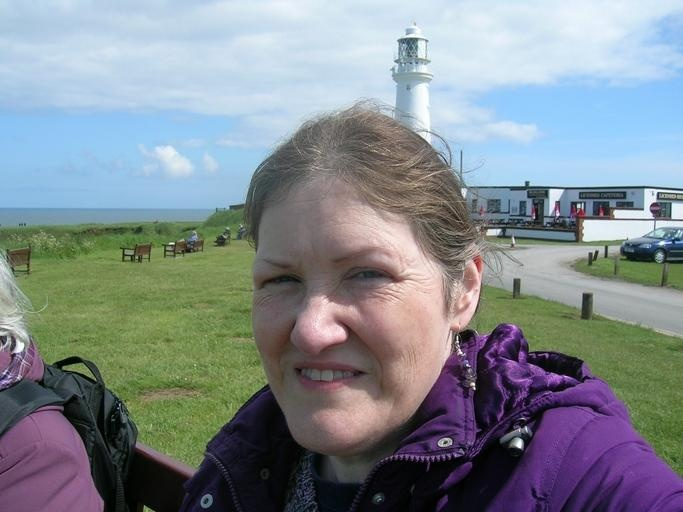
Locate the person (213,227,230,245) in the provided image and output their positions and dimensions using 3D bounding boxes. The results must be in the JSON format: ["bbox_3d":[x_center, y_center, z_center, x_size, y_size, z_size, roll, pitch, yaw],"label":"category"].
[{"bbox_3d":[-7.371,-1.065,37.381,0.713,1.052,1.727,3,16,4],"label":"person"}]

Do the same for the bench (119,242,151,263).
[{"bbox_3d":[-9.159,-0.226,27.311,1.121,0.761,3.716,0,5,-17],"label":"bench"}]
